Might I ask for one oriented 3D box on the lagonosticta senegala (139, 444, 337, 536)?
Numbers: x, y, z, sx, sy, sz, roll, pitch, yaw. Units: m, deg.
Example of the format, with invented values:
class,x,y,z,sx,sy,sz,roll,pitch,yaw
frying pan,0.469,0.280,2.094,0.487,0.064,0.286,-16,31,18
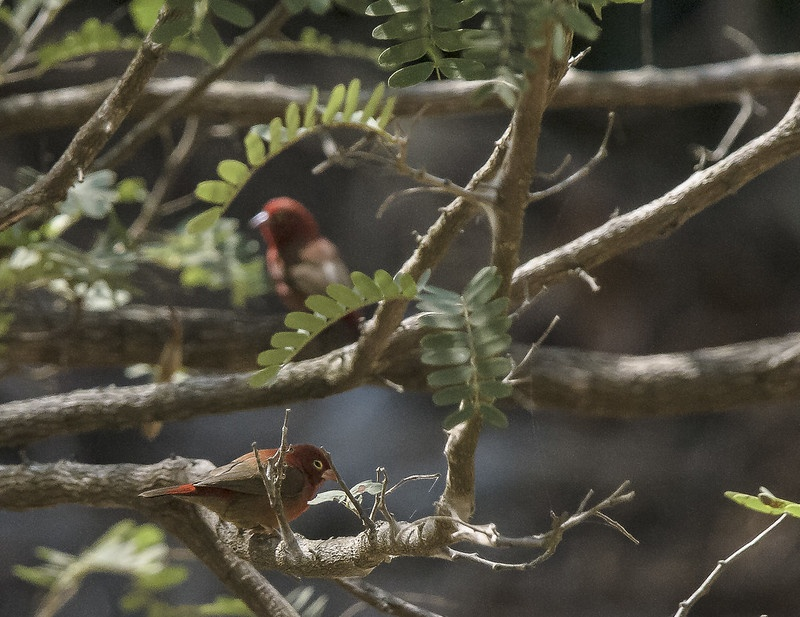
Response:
class,x,y,z,sx,sy,sz,roll,pitch,yaw
lagonosticta senegala,-0.414,0.448,3.212,0.191,0.564,0.197,-22,66,48
